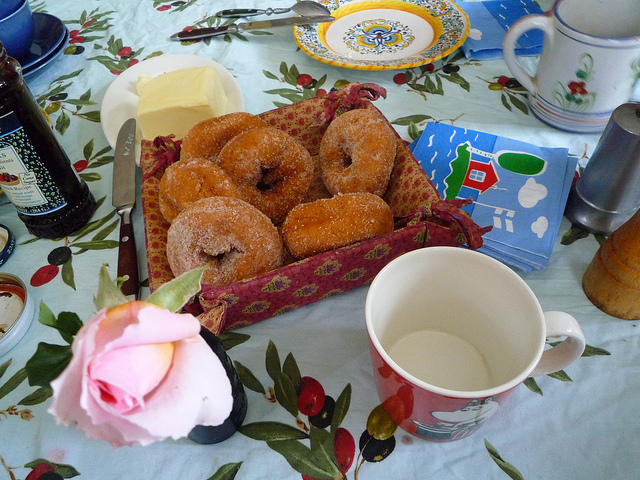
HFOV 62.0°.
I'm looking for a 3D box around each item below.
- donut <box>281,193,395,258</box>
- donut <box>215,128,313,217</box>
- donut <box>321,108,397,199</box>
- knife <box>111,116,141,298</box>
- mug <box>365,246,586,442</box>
[{"bbox_3d":[0.023,-0.025,0.733,0.136,0.081,0.074,-12,93,-7],"label":"donut"},{"bbox_3d":[-0.083,-0.115,0.805,0.135,0.053,0.141,-32,98,-20],"label":"donut"},{"bbox_3d":[0.046,-0.135,0.825,0.131,0.051,0.149,12,72,26],"label":"donut"},{"bbox_3d":[-0.339,-0.059,0.931,0.042,0.402,0.023,11,56,-15],"label":"knife"},{"bbox_3d":[0.170,0.134,0.618,0.219,0.167,0.184,8,50,11],"label":"mug"}]
